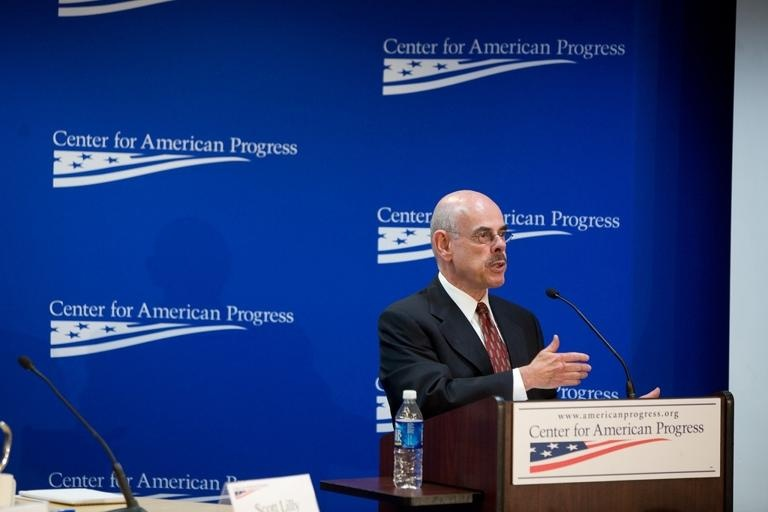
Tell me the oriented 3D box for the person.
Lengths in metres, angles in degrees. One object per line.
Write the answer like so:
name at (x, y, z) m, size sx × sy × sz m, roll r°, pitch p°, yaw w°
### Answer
person at (0.410, 0.206, 4.656) m, size 0.914 × 1.112 × 0.807 m, roll -4°, pitch -1°, yaw -2°

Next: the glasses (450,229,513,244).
glasses at (0.479, -0.100, 4.866) m, size 0.157 × 0.039 × 0.158 m, roll 3°, pitch -6°, yaw -36°

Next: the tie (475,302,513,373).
tie at (0.545, 0.391, 4.815) m, size 0.116 × 0.419 × 0.074 m, roll 0°, pitch -44°, yaw -17°

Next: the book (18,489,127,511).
book at (-1.517, 1.165, 4.656) m, size 0.467 × 0.087 × 0.358 m, roll -2°, pitch -2°, yaw -20°
